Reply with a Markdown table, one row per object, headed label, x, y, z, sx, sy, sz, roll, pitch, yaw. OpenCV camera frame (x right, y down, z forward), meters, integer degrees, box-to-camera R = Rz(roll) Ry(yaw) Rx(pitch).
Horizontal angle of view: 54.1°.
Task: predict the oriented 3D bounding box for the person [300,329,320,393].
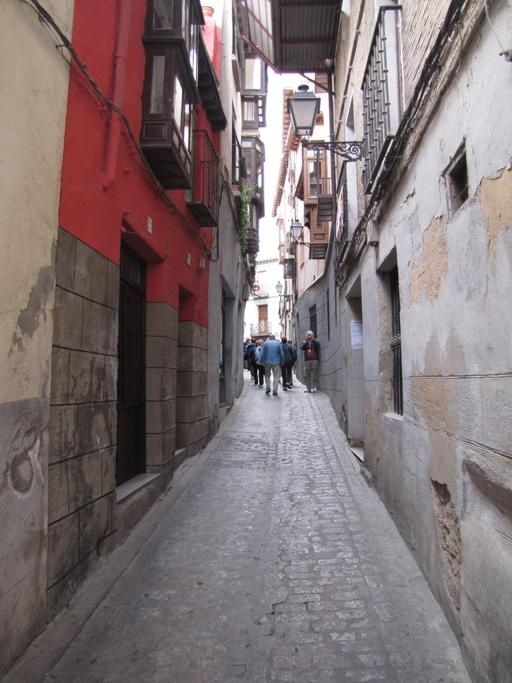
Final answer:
| label | x | y | z | sx | sy | sz | roll | pitch | yaw |
| --- | --- | --- | --- | --- | --- | --- | --- | --- | --- |
| person | 1.366 | 0.512 | 12.405 | 0.425 | 1.474 | 0.777 | 0 | 0 | 9 |
